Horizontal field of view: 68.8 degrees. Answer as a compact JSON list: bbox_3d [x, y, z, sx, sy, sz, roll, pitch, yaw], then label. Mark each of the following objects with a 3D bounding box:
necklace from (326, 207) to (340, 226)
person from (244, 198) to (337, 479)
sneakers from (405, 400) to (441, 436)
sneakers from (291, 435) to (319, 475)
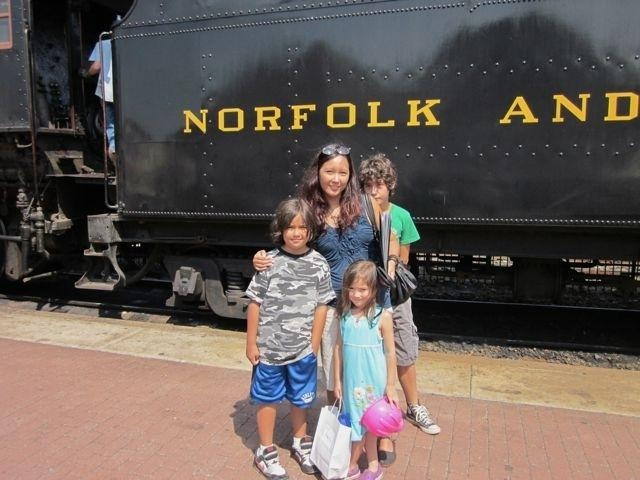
[{"bbox_3d":[0.091,-0.151,3.120,0.023,0.109,0.103,12,28,-9],"label":"necklace"},{"bbox_3d":[-0.178,0.644,3.032,0.576,1.786,0.296,-2,8,-11],"label":"person"},{"bbox_3d":[0.768,1.347,3.589,0.107,0.150,0.313,-9,3,-30],"label":"sneakers"},{"bbox_3d":[-0.107,1.439,3.140,0.094,0.140,0.281,4,0,-26],"label":"sneakers"}]
